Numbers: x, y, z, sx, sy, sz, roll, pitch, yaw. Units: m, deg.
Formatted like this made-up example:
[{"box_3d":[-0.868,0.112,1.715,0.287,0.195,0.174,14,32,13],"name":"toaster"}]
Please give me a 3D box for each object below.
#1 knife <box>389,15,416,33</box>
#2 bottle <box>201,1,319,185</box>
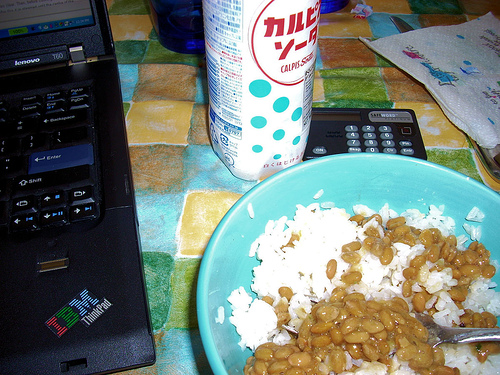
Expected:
[{"box_3d":[0.355,-0.375,0.966,0.025,0.006,0.080,-35,57,2],"name":"knife"},{"box_3d":[0.010,-0.118,0.600,0.154,0.288,0.127,4,62,7],"name":"bottle"}]
